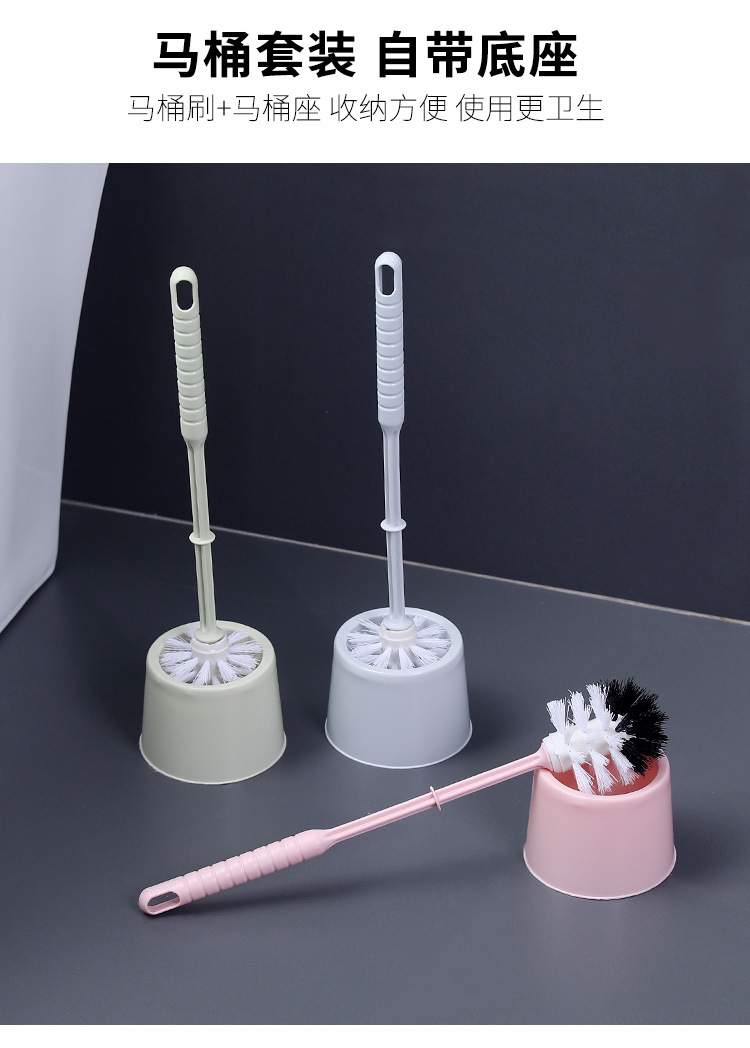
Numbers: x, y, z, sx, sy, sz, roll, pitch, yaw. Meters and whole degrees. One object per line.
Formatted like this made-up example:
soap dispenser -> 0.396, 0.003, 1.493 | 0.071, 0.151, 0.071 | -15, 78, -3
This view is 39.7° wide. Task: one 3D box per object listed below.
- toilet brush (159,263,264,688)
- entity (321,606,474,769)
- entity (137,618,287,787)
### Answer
toilet brush -> -0.152, -0.043, 0.918 | 0.091, 0.359, 0.195 | -2, 15, -2
entity -> 0.021, 0.160, 0.987 | 0.138, 0.088, 0.136 | 0, 23, 2
entity -> -0.150, 0.152, 0.954 | 0.136, 0.102, 0.141 | 19, 28, 32
